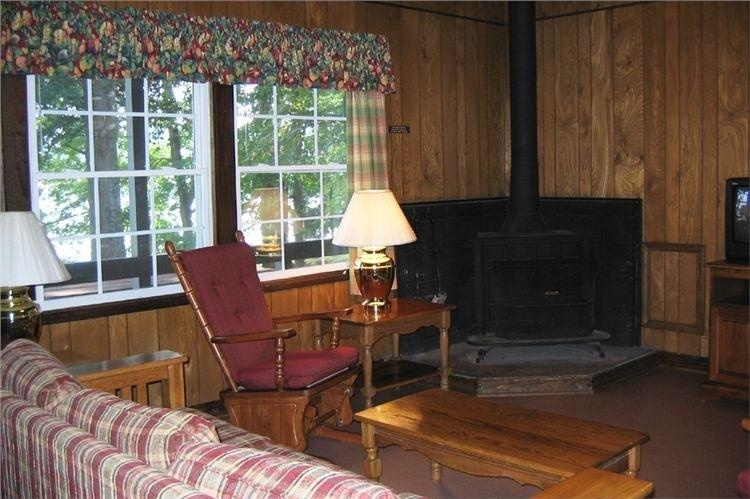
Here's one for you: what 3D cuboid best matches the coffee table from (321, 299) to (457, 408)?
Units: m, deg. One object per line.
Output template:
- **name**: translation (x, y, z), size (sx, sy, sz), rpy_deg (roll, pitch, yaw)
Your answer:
- **coffee table**: translation (0.028, 0.585, 4.719), size (0.751, 0.717, 0.968), rpy_deg (3, 5, 44)
